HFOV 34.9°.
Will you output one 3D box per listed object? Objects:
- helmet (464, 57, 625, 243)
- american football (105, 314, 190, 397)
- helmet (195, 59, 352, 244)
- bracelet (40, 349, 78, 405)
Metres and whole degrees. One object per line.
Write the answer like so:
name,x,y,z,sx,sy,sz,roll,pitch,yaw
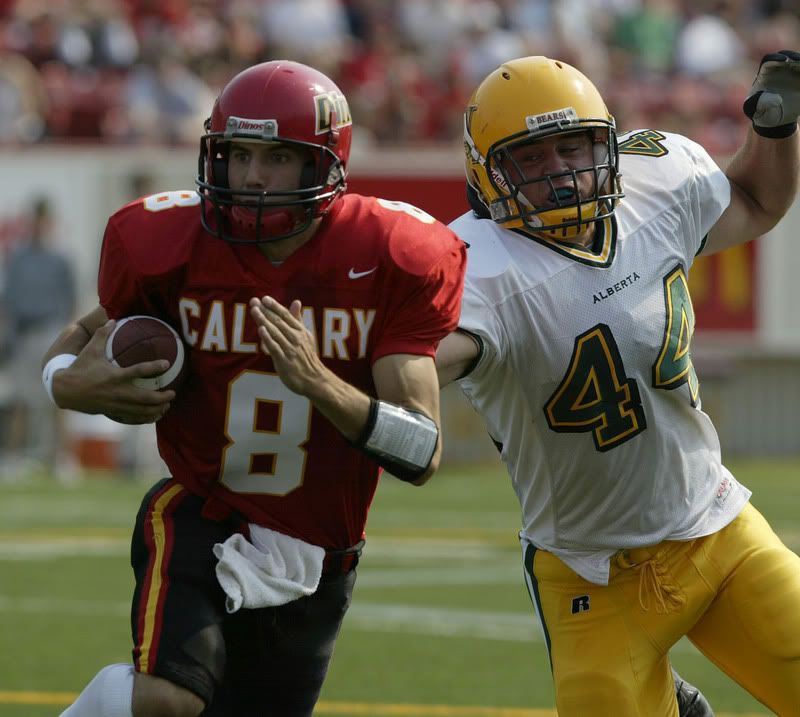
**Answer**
helmet,0.352,-0.510,3.099,0.324,0.412,0.470,-2,10,-10
american football,-0.579,-0.021,2.891,0.205,0.133,0.206,1,7,40
helmet,-0.265,-0.473,2.856,0.300,0.381,0.437,3,9,20
bracelet,-0.792,0.039,2.931,0.097,0.114,0.089,0,-20,6
